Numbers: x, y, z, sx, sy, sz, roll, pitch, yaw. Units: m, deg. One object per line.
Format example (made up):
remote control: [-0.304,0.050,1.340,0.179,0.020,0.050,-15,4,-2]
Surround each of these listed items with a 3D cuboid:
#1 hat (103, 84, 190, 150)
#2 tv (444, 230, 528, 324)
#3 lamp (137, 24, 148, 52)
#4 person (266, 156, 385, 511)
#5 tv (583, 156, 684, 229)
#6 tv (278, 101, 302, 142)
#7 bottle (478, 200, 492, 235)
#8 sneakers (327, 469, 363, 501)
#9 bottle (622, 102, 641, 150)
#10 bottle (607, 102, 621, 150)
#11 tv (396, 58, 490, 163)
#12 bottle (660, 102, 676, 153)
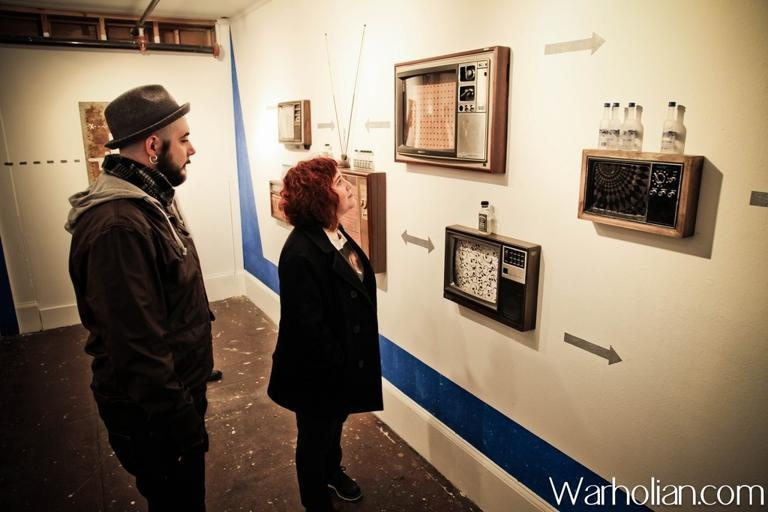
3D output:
hat: [-1.247,-0.740,2.632,0.387,0.153,0.338,-32,29,-7]
tv: [0.627,0.108,3.010,0.108,0.396,0.494,-7,15,-32]
lamp: [-2.588,-2.327,5.401,0.089,0.270,0.455,-5,16,-24]
person: [-0.359,0.484,2.986,0.655,2.056,0.440,-3,14,-14]
tv: [1.223,-0.350,2.465,0.461,0.360,0.228,14,29,43]
tv: [-0.909,-1.227,4.621,0.143,0.374,0.391,13,21,26]
bottle: [0.603,-0.241,3.023,0.100,0.187,0.056,13,19,40]
sneakers: [-0.255,1.521,3.383,0.286,0.124,0.122,1,5,43]
bottle: [1.189,-0.623,2.412,0.097,0.217,0.043,9,16,29]
bottle: [1.129,-0.636,2.459,0.056,0.212,0.056,1,14,0]
tv: [0.391,-0.911,3.206,0.712,0.617,0.243,11,17,40]
bottle: [1.307,-0.591,2.306,0.050,0.223,0.073,-1,14,-8]
